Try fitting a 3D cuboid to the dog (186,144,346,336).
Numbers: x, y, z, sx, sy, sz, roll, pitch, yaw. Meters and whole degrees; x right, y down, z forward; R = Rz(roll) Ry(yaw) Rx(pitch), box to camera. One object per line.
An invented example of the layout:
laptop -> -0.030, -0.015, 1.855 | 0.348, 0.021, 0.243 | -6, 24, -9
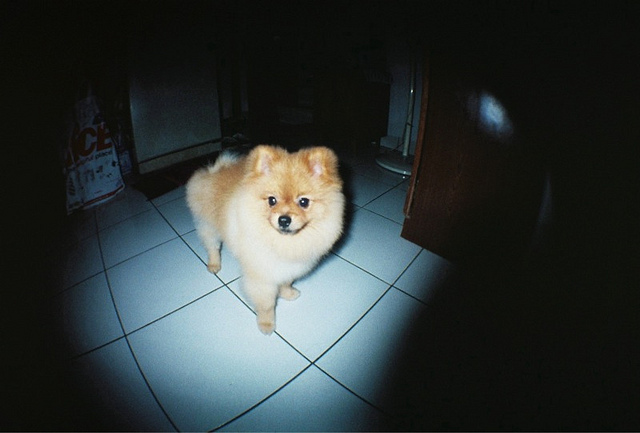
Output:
dog -> -0.336, 0.003, 2.498 | 0.546, 1.092, 1.077 | -16, 38, -35
